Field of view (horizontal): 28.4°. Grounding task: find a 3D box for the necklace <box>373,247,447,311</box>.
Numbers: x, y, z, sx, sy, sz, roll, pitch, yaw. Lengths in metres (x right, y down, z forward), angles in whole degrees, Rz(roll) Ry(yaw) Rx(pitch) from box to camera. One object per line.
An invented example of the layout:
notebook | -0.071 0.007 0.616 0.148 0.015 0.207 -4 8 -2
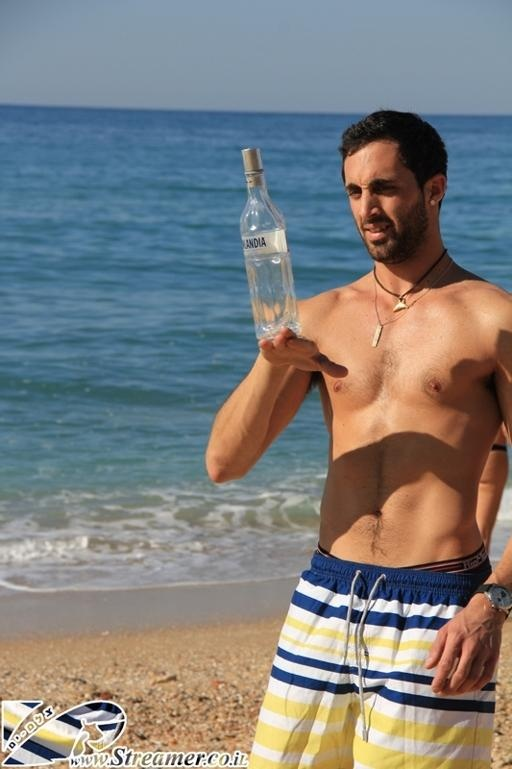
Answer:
necklace | 0.431 -0.290 2.862 0.154 0.207 0.045 11 -4 20
